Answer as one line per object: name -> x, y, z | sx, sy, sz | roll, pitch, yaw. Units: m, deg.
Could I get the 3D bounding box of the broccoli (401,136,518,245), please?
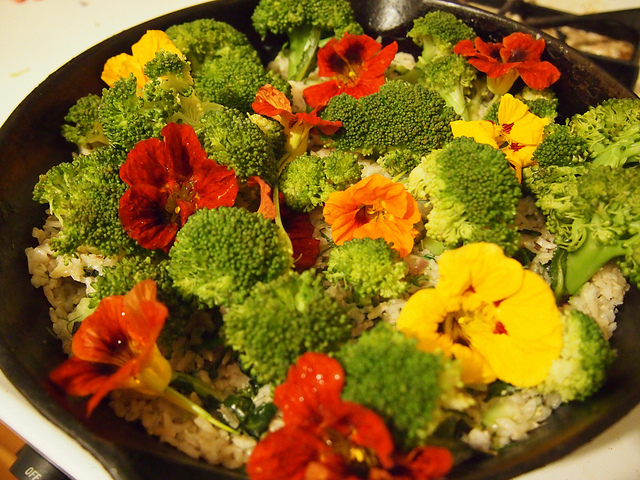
broccoli -> 0.438, -0.157, 1.702 | 0.281, 0.382, 0.194 | 13, 42, 30

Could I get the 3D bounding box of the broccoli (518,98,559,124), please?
broccoli -> 0.755, -0.442, 1.976 | 0.105, 0.032, 0.110 | 0, 47, 0

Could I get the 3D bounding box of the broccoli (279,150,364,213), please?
broccoli -> 0.038, -0.238, 1.887 | 0.237, 0.160, 0.099 | 7, 63, 34

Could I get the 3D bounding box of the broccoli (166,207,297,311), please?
broccoli -> -0.240, 0.057, 1.648 | 0.309, 0.126, 0.287 | -38, 67, -13

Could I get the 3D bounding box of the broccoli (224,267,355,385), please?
broccoli -> -0.076, 0.223, 1.518 | 0.311, 0.135, 0.312 | 4, 59, -1

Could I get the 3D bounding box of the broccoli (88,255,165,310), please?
broccoli -> -0.586, 0.117, 1.689 | 0.182, 0.089, 0.181 | 3, 16, 25

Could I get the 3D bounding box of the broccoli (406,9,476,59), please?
broccoli -> 0.454, -0.730, 2.162 | 0.209, 0.197, 0.205 | 8, 11, 34

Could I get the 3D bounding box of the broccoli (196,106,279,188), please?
broccoli -> -0.256, -0.290, 1.729 | 0.105, 0.200, 0.249 | -45, 36, 7

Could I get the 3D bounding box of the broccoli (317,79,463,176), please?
broccoli -> 0.230, -0.394, 1.909 | 0.356, 0.135, 0.345 | -15, 70, 8

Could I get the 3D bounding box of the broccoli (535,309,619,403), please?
broccoli -> 0.736, 0.340, 1.668 | 0.226, 0.089, 0.253 | -12, 89, -7

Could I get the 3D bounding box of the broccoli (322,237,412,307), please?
broccoli -> 0.148, 0.083, 1.678 | 0.192, 0.096, 0.200 | 7, 35, -6

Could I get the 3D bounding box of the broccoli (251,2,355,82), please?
broccoli -> -0.066, -0.835, 2.249 | 0.335, 0.355, 0.309 | 23, 37, 33

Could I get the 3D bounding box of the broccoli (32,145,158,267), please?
broccoli -> -0.697, -0.105, 1.771 | 0.350, 0.109, 0.372 | -12, 81, 3

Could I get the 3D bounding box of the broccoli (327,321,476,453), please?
broccoli -> 0.204, 0.360, 1.427 | 0.291, 0.113, 0.302 | -27, 57, -17

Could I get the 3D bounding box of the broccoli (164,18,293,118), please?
broccoli -> -0.348, -0.637, 2.039 | 0.452, 0.232, 0.356 | 23, 47, -3
